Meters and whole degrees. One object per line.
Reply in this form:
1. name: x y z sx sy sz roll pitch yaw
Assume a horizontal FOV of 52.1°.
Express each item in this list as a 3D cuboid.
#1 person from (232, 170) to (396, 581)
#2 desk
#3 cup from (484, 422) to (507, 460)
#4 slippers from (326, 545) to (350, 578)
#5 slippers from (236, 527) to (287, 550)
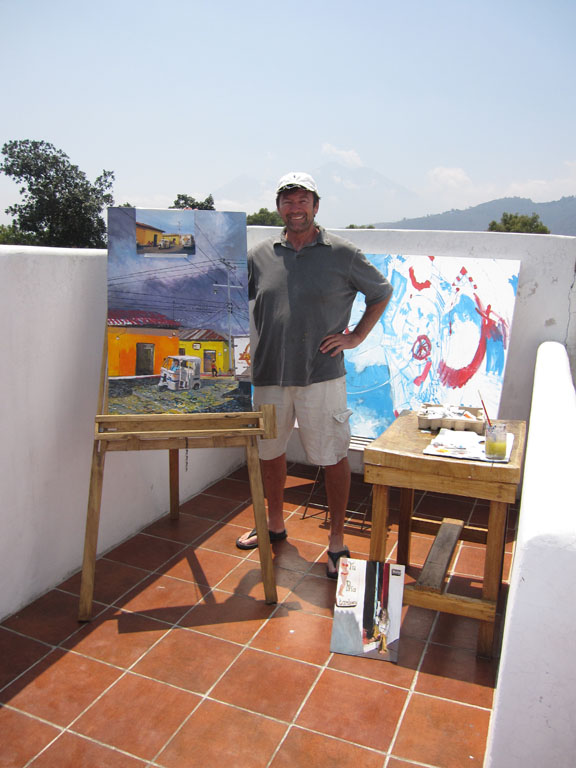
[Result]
1. person: 0.121 -0.035 2.617 0.617 1.723 0.504 1 10 -4
2. desk: 0.579 0.536 2.193 0.490 0.751 0.643 5 10 21
3. cup: 0.675 0.177 1.901 0.068 0.103 0.156 5 10 20
4. slippers: 0.228 0.782 2.550 0.086 0.097 0.253 -4 -16 6
5. slippers: -0.145 0.729 2.881 0.299 0.115 0.112 0 -1 -19
